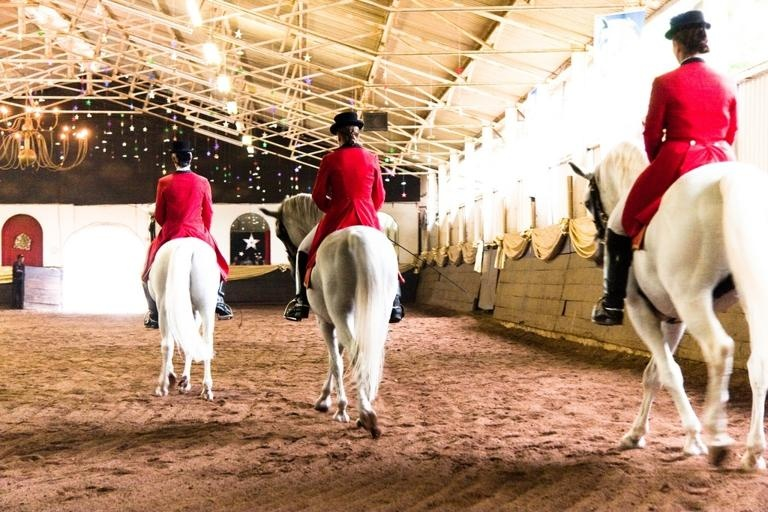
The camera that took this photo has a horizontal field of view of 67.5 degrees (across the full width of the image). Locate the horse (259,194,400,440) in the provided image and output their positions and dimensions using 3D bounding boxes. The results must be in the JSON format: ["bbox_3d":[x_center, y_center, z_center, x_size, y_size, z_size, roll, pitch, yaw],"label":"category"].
[{"bbox_3d":[-0.597,0.413,6.624,0.887,2.382,3.657,-1,1,-19],"label":"horse"}]

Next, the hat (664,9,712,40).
[{"bbox_3d":[2.229,-1.745,4.309,0.265,0.112,0.302,9,-19,-38],"label":"hat"}]

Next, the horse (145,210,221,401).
[{"bbox_3d":[-2.270,0.719,6.567,0.759,1.882,1.082,0,0,-22],"label":"horse"}]

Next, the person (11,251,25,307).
[{"bbox_3d":[-12.799,0.980,20.193,0.344,1.723,0.521,0,0,-19],"label":"person"}]
